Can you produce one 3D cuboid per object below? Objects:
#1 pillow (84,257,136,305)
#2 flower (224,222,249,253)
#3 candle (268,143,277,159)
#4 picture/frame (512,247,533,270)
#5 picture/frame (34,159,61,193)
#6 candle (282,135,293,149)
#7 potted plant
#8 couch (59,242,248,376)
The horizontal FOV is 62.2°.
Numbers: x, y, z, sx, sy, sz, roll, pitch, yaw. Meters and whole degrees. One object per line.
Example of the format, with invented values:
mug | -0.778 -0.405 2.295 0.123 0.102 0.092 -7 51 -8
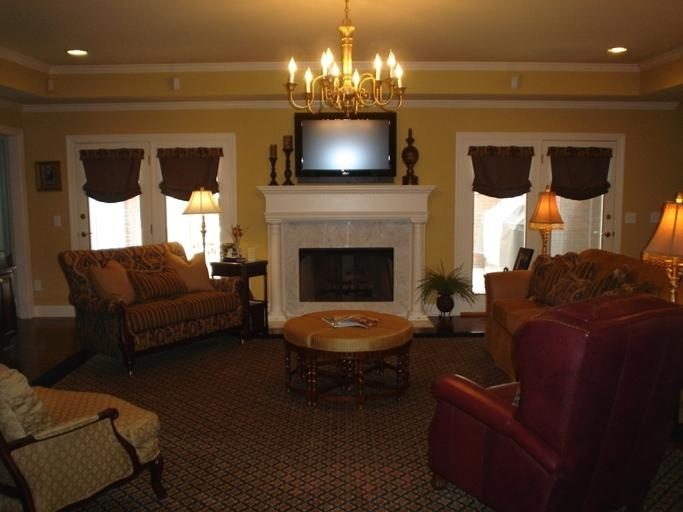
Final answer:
pillow | -2.282 0.254 5.523 0.185 0.339 0.371 -8 12 6
flower | -1.291 -0.242 7.040 0.311 0.453 0.322 1 12 3
candle | -0.848 -1.307 7.021 0.104 0.176 0.238 -2 12 -7
picture/frame | 2.233 0.018 6.950 0.028 0.301 0.170 5 23 -24
picture/frame | -3.811 -1.071 7.317 0.387 0.488 0.052 0 6 -6
candle | -0.666 -1.415 6.992 0.144 0.170 0.146 0 3 -15
potted plant | 1.278 0.411 7.065 0.671 0.607 0.692 2 3 6
couch | -1.919 0.376 5.868 1.116 1.383 1.978 -2 4 33
